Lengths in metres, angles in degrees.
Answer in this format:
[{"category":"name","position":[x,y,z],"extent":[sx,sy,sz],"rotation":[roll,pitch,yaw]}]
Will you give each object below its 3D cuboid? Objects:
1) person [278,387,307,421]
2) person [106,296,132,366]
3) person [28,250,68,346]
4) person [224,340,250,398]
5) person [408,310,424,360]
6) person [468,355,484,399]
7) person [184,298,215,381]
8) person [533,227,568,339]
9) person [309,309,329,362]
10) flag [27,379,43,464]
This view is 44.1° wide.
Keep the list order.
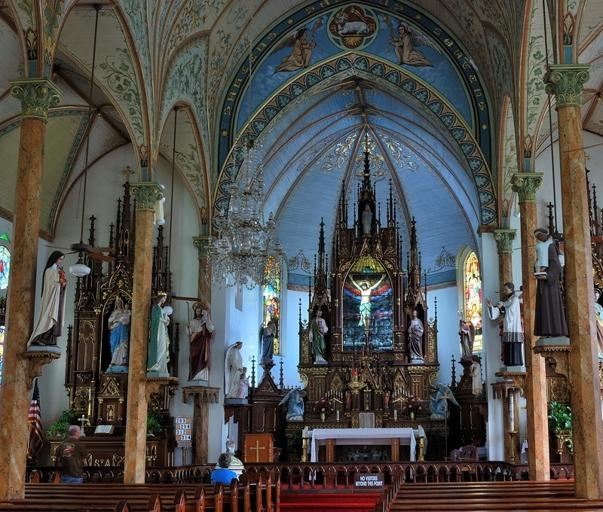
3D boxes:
[{"category":"person","position":[-0.222,4.304,21.644],"extent":[0.769,1.031,0.799],"rotation":[-1,-18,0]},{"category":"person","position":[-4.403,1.833,18.216],"extent":[0.601,1.871,0.491],"rotation":[-2,-16,5]},{"category":"person","position":[-3.813,0.625,11.337],"extent":[0.473,1.594,0.525],"rotation":[6,-18,-23]},{"category":"person","position":[-1.601,2.882,18.910],"extent":[0.372,1.446,0.810],"rotation":[-14,-22,39]},{"category":"person","position":[3.466,2.339,22.273],"extent":[0.484,1.655,0.400],"rotation":[-1,-16,1]},{"category":"person","position":[4.772,3.240,20.218],"extent":[0.295,1.139,0.534],"rotation":[-5,-18,16]},{"category":"person","position":[-2.446,2.092,18.416],"extent":[0.624,2.077,0.537],"rotation":[1,-16,-6]},{"category":"person","position":[3.876,0.446,11.732],"extent":[0.498,1.745,0.543],"rotation":[-7,-18,21]},{"category":"person","position":[0.538,2.375,22.678],"extent":[0.533,1.750,0.401],"rotation":[-1,-16,0]},{"category":"flag","position":[-6.623,4.116,18.787],"extent":[0.333,2.074,1.084],"rotation":[3,-18,-14]}]
